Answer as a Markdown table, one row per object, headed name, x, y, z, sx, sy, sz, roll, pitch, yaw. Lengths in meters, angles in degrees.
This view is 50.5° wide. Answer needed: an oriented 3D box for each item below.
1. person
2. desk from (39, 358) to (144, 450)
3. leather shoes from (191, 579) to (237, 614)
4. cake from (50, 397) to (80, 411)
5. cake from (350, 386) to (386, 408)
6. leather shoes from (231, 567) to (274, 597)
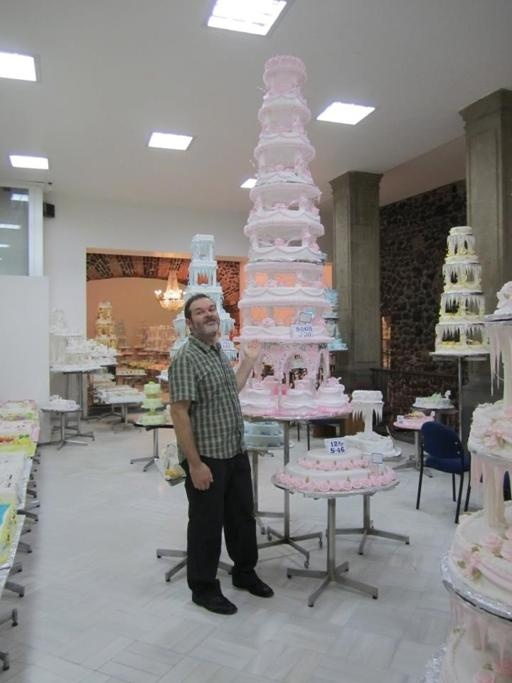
| name | x | y | z | sx | sy | sz | roll | pitch | yaw |
| --- | --- | --- | --- | --- | --- | --- | --- | --- | --- |
| person | -0.232 | 0.638 | 3.216 | 0.367 | 1.770 | 0.680 | 0 | 0 | 43 |
| desk | -3.079 | 0.995 | 10.281 | 1.712 | 0.979 | 1.249 | -3 | 7 | -25 |
| leather shoes | -0.247 | 1.488 | 3.182 | 0.114 | 0.130 | 0.328 | 7 | -14 | -38 |
| cake | -2.813 | 0.925 | 8.018 | 0.426 | 0.177 | 0.734 | 0 | 0 | -18 |
| cake | 1.385 | 0.679 | 6.690 | 0.614 | 0.228 | 0.578 | 0 | -5 | 4 |
| leather shoes | -0.014 | 1.496 | 3.451 | 0.314 | 0.187 | 0.106 | -2 | -1 | 34 |
